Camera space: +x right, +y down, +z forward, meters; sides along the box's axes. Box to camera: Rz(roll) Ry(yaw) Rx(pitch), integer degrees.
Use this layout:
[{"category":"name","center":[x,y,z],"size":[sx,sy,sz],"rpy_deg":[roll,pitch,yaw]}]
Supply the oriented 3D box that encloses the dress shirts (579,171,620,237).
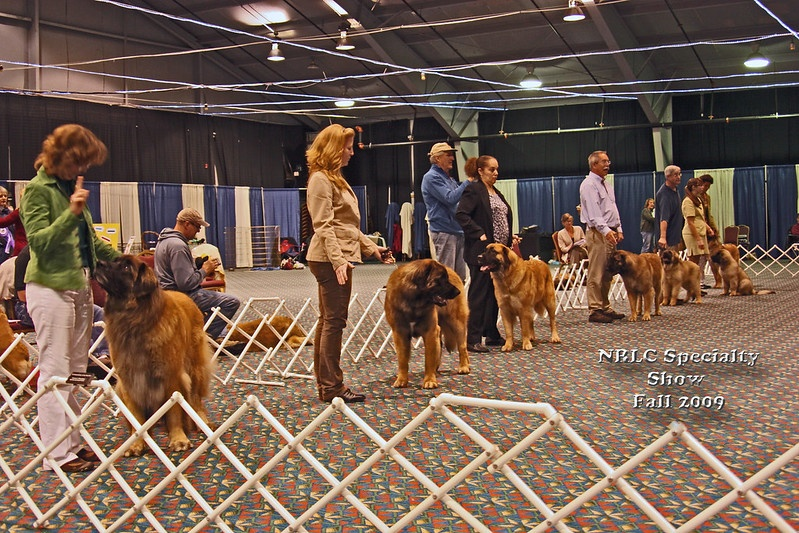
[{"category":"dress shirts","center":[2.716,-0.822,8.670],"size":[0.482,0.928,0.667],"rpy_deg":[-5,-3,43]}]

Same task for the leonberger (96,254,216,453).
[{"category":"leonberger","center":[-1.902,0.640,5.166],"size":[0.508,1.566,1.534],"rpy_deg":[-4,5,5]}]

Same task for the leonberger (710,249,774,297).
[{"category":"leonberger","center":[5.899,0.147,11.016],"size":[1.062,0.801,0.399],"rpy_deg":[5,-2,5]}]

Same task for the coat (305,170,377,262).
[{"category":"coat","center":[-0.532,-0.431,5.721],"size":[0.481,0.851,0.769],"rpy_deg":[1,2,20]}]

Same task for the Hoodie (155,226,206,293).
[{"category":"Hoodie","center":[-2.438,-0.093,7.022],"size":[0.454,0.691,0.743],"rpy_deg":[-4,13,-34]}]

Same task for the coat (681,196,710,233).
[{"category":"coat","center":[4.973,-0.814,10.735],"size":[0.470,0.873,0.872],"rpy_deg":[-1,4,20]}]

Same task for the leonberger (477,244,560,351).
[{"category":"leonberger","center":[1.512,0.355,7.582],"size":[0.482,1.237,1.586],"rpy_deg":[-2,0,38]}]

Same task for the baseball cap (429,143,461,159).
[{"category":"baseball cap","center":[0.508,-1.330,7.276],"size":[0.346,0.161,0.246],"rpy_deg":[-7,2,10]}]

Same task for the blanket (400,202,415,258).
[{"category":"blanket","center":[0.309,-1.335,23.415],"size":[0.610,2.005,0.343],"rpy_deg":[11,23,33]}]

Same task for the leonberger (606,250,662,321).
[{"category":"leonberger","center":[3.524,0.257,9.293],"size":[0.474,0.999,1.528],"rpy_deg":[-4,0,42]}]

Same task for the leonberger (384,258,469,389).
[{"category":"leonberger","center":[0.300,0.516,6.466],"size":[0.564,1.281,2.006],"rpy_deg":[2,4,17]}]

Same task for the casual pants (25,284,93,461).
[{"category":"casual pants","center":[-2.355,0.778,4.557],"size":[0.420,1.346,0.399],"rpy_deg":[-6,7,-31]}]

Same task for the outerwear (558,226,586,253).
[{"category":"outerwear","center":[3.405,-0.516,12.665],"size":[0.521,0.551,0.301],"rpy_deg":[-1,-3,-11]}]

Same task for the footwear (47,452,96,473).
[{"category":"footwear","center":[-2.310,1.399,4.556],"size":[0.252,0.111,0.095],"rpy_deg":[-3,0,-3]}]

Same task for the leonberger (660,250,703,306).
[{"category":"leonberger","center":[4.521,0.197,10.225],"size":[0.999,0.887,0.393],"rpy_deg":[1,2,-26]}]

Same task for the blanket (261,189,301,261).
[{"category":"blanket","center":[-4.205,-1.853,22.603],"size":[1.236,2.342,0.176],"rpy_deg":[-1,46,-13]}]

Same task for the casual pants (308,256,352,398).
[{"category":"casual pants","center":[-0.603,0.494,5.602],"size":[0.311,1.238,0.319],"rpy_deg":[0,-5,-28]}]

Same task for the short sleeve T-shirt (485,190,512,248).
[{"category":"short sleeve T-shirt","center":[1.277,-0.563,7.587],"size":[0.387,0.732,0.510],"rpy_deg":[0,13,18]}]

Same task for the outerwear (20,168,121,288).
[{"category":"outerwear","center":[-2.431,-0.258,4.573],"size":[0.480,0.871,0.547],"rpy_deg":[-5,7,-20]}]

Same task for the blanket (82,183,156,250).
[{"category":"blanket","center":[-6.881,-1.284,15.766],"size":[2.108,2.417,0.155],"rpy_deg":[-3,7,-40]}]

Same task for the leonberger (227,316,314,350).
[{"category":"leonberger","center":[-1.521,0.766,7.310],"size":[0.773,0.269,0.539],"rpy_deg":[1,-2,-44]}]
